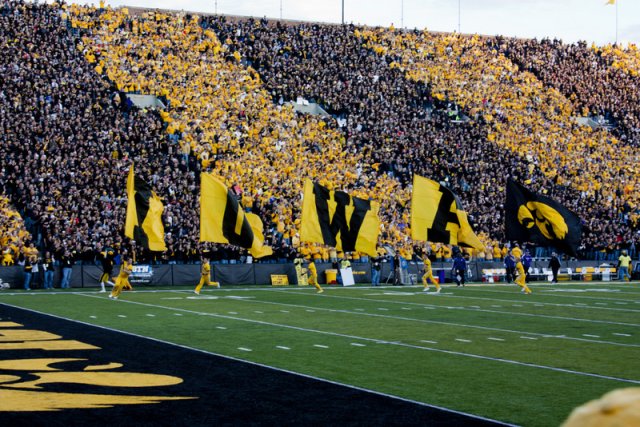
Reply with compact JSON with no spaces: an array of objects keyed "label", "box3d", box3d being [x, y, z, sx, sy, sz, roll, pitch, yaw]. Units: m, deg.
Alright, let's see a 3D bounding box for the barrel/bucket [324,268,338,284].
[{"label":"barrel/bucket","box3d":[0.706,3.235,47.853,0.732,0.728,0.827,-4,-4,32]}]
